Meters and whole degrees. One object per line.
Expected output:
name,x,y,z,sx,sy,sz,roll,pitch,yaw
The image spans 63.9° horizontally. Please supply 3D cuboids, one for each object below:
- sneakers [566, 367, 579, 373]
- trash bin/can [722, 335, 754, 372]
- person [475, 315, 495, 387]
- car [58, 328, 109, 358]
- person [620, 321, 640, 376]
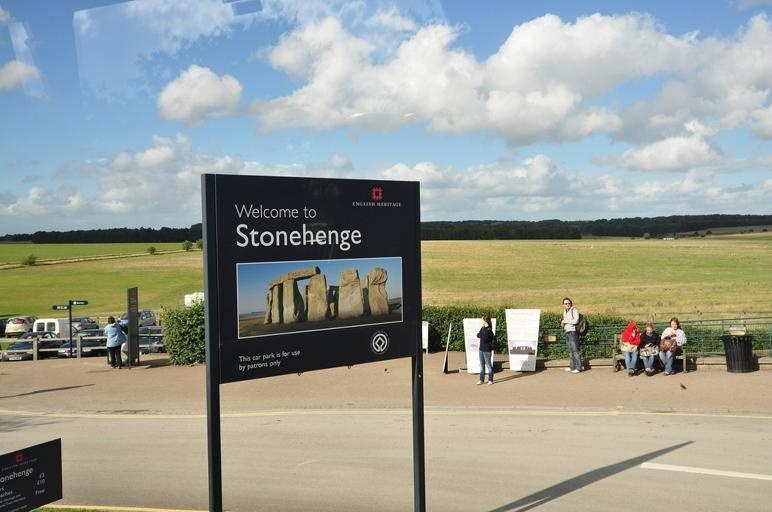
sneakers,5.735,3.546,18.996,0.378,0.158,0.126,10,-13,41
trash bin/can,10.174,2.837,17.785,0.852,1.076,0.542,-3,-3,14
person,2.961,2.785,18.167,0.520,1.939,0.944,-3,-3,9
car,-14.158,4.189,28.855,1.903,1.039,5.455,-1,-3,-27
person,7.098,2.792,18.261,0.507,1.588,0.906,7,3,5
